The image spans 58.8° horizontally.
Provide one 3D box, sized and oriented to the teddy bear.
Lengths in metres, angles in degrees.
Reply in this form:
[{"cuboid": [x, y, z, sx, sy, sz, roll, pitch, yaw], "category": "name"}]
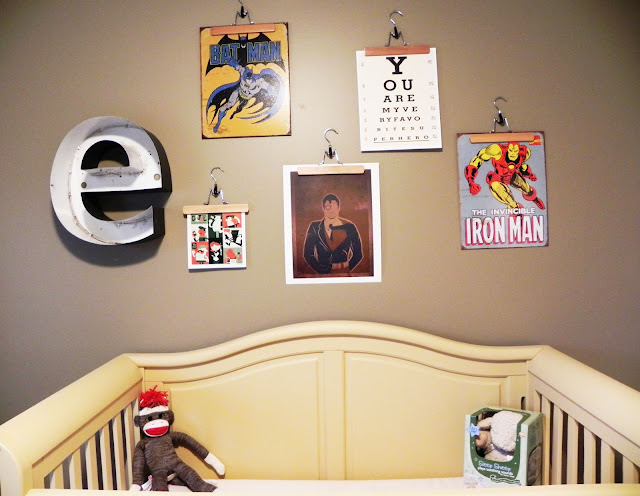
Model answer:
[{"cuboid": [-0.600, 0.765, 2.446, 0.364, 0.484, 0.349, -6, -8, -31], "category": "teddy bear"}]
